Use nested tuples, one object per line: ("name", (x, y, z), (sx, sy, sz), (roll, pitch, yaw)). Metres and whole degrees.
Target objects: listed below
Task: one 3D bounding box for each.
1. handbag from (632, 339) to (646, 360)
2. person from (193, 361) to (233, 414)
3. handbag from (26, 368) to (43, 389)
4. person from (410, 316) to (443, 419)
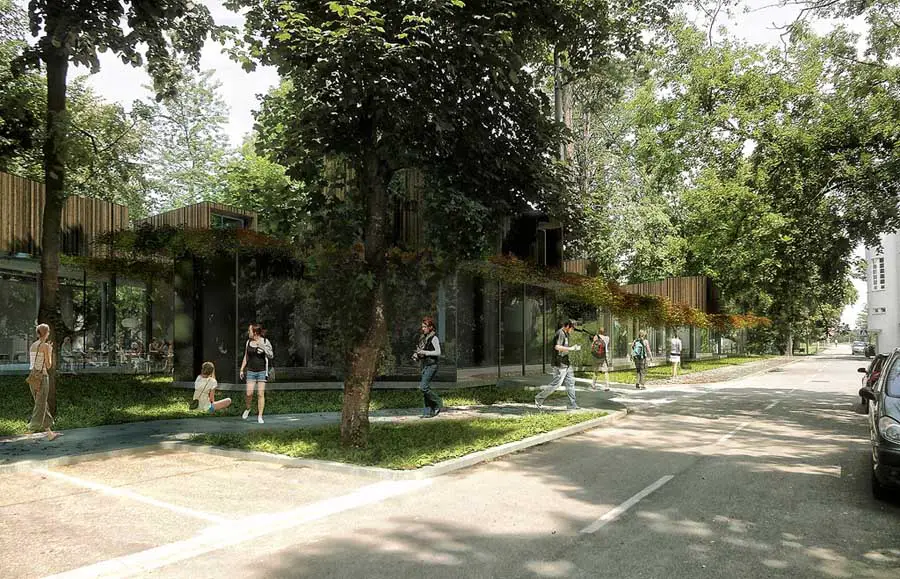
("handbag", (7.872, 2.465, 30.970), (0.510, 0.787, 0.534), (7, 13, 30))
("person", (-7.115, 2.952, 21.872), (0.782, 1.709, 1.087), (-4, 12, -20))
("handbag", (-10.455, 2.254, 18.689), (0.414, 0.482, 0.187), (4, 12, 17))
("person", (-0.646, 2.388, 22.330), (0.797, 2.938, 1.442), (0, 11, -2))
